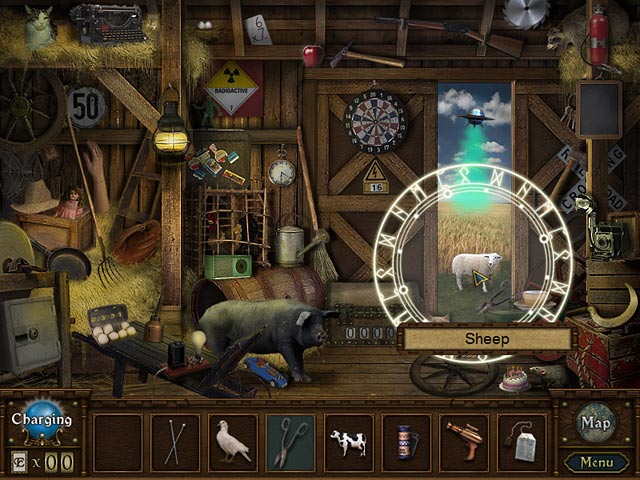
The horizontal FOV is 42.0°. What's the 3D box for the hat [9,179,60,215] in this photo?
[{"bbox_3d":[-3.581,-0.591,10.610,0.633,0.340,0.825,-3,12,-6],"label":"hat"}]
